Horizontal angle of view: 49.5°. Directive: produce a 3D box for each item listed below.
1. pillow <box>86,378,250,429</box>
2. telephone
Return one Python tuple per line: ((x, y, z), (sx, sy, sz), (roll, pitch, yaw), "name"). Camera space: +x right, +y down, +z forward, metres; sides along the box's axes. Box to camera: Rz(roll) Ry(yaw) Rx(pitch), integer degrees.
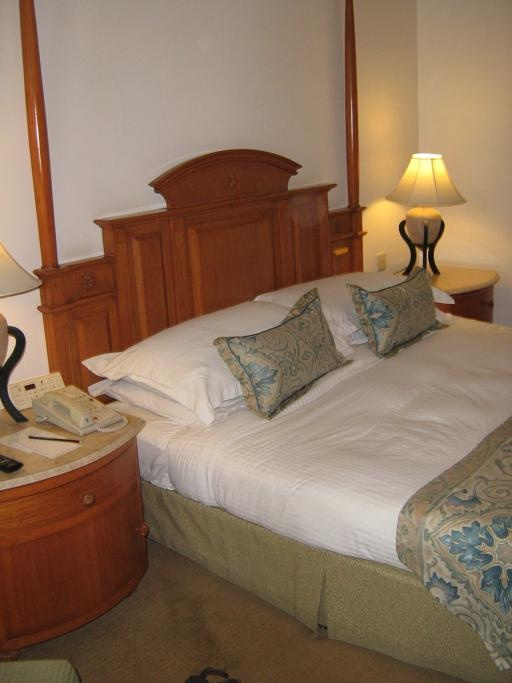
((-0.389, 0.206, 2.011), (0.373, 0.074, 0.241), (12, 21, 32), "pillow")
((-0.549, 0.202, 1.671), (0.201, 0.063, 0.154), (15, 23, 23), "telephone")
